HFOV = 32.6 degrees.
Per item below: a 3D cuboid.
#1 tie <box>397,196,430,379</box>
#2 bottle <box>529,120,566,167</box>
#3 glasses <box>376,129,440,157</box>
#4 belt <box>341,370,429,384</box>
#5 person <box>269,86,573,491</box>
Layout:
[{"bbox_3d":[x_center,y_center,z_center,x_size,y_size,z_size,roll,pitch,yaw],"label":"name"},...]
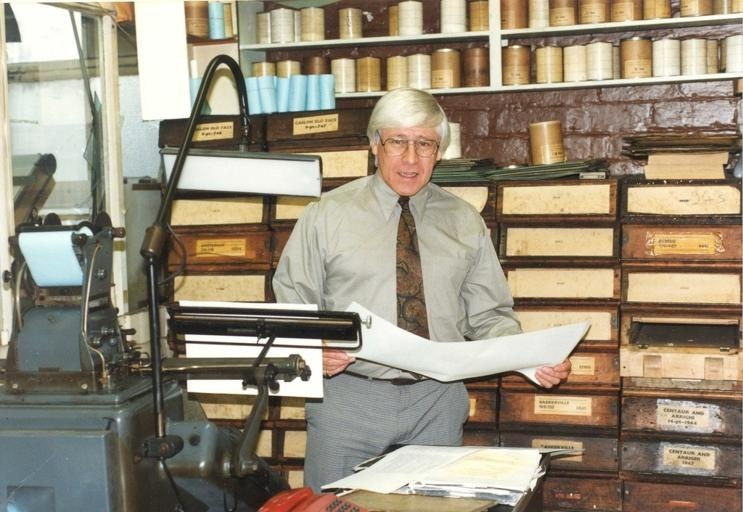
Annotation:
[{"bbox_3d":[0.138,0.101,4.362,0.110,0.597,0.217,-1,7,-10],"label":"tie"},{"bbox_3d":[0.714,-0.454,5.159,0.185,0.184,0.178,-4,-1,12],"label":"bottle"},{"bbox_3d":[0.139,-0.389,4.379,0.208,0.092,0.084,0,7,-4],"label":"glasses"},{"bbox_3d":[0.051,0.412,4.318,0.287,0.048,0.040,0,7,1],"label":"belt"},{"bbox_3d":[0.090,0.105,4.395,0.852,1.361,0.414,1,7,5],"label":"person"}]
